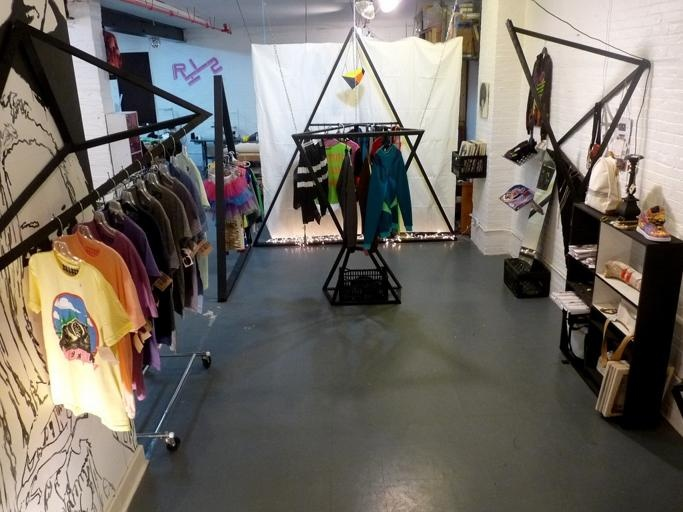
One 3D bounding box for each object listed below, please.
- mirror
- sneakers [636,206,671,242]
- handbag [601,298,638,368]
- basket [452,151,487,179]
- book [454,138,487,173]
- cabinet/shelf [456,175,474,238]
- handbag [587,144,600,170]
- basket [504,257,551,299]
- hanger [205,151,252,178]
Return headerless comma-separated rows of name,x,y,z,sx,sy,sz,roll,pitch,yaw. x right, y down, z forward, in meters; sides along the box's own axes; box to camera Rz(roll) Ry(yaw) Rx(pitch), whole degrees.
mirror,2.222,-0.548,5.463,0.310,1.320,0.486,-8,20,-15
sneakers,2.094,-0.235,3.357,0.126,0.221,0.354,-2,19,9
handbag,2.072,0.588,3.666,0.086,0.433,0.386,11,4,14
basket,1.727,-1.206,6.593,0.319,0.241,0.361,3,23,8
book,1.735,-1.294,6.552,0.377,0.445,0.219,-2,19,3
cabinet/shelf,1.865,-0.729,7.433,0.233,0.695,0.683,-1,16,0
handbag,2.328,-0.923,4.548,0.052,0.214,0.137,8,-2,2
basket,2.131,0.192,5.632,0.427,0.378,0.542,-3,21,-1
hanger,-1.374,-1.118,5.973,0.430,0.235,0.634,9,18,27
